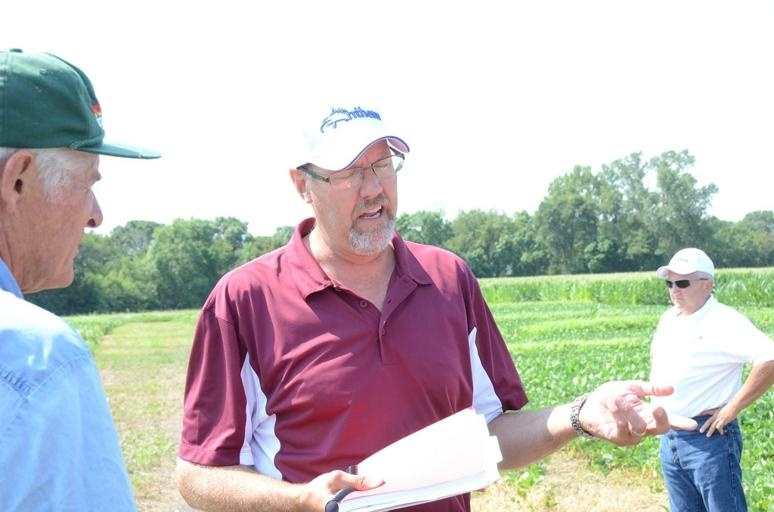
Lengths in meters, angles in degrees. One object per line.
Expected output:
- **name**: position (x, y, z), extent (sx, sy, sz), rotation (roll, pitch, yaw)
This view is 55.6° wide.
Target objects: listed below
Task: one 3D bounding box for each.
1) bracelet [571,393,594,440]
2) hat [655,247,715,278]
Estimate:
- **bracelet**: position (1.135, 0.965, 4.334), extent (0.064, 0.208, 0.202), rotation (9, -29, 27)
- **hat**: position (2.957, 0.033, 7.041), extent (0.403, 0.254, 0.318), rotation (15, -12, -19)
